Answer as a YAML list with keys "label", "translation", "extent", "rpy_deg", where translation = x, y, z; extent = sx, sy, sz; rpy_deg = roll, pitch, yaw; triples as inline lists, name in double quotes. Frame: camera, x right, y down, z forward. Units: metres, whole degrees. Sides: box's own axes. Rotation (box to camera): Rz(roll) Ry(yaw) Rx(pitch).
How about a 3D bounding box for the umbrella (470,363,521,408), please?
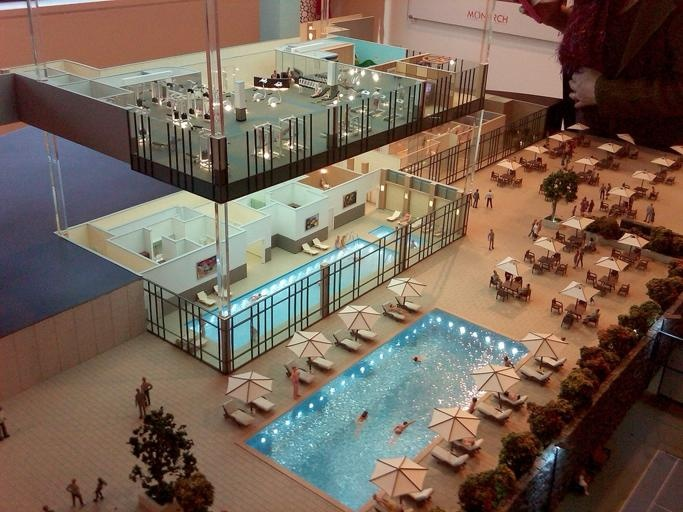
- label: "umbrella"
  translation: [6.623, 5.459, 25.389]
  extent: [1.503, 1.030, 1.498]
  rpy_deg: [-32, 47, -29]

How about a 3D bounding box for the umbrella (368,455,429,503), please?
- label: "umbrella"
  translation: [1.958, 7.880, 20.973]
  extent: [1.684, 0.694, 1.583]
  rpy_deg: [11, 44, 18]

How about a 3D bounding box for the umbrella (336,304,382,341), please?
- label: "umbrella"
  translation: [0.897, 2.795, 28.516]
  extent: [1.773, 1.492, 1.645]
  rpy_deg: [33, 61, 15]

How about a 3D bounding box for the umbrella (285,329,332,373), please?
- label: "umbrella"
  translation: [-1.441, 4.247, 27.055]
  extent: [1.703, 1.428, 1.626]
  rpy_deg: [34, 57, 19]

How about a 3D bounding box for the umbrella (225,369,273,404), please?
- label: "umbrella"
  translation: [-3.687, 5.252, 24.134]
  extent: [1.399, 0.625, 1.511]
  rpy_deg: [-23, 46, -30]

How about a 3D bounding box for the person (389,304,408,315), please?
- label: "person"
  translation: [2.955, 2.753, 30.962]
  extent: [0.906, 0.220, 0.588]
  rpy_deg: [19, 31, 32]

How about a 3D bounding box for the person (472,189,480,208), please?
- label: "person"
  translation: [9.177, -4.033, 40.570]
  extent: [0.488, 1.166, 1.251]
  rpy_deg: [8, 28, 11]

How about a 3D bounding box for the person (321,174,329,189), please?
- label: "person"
  translation: [-1.108, -5.213, 41.456]
  extent: [0.570, 0.807, 0.682]
  rpy_deg: [-30, 56, -22]

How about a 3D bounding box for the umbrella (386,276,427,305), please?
- label: "umbrella"
  translation: [3.401, 1.948, 30.920]
  extent: [1.580, 1.016, 1.482]
  rpy_deg: [14, 46, 16]

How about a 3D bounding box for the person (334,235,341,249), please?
- label: "person"
  translation: [-0.148, -0.883, 37.442]
  extent: [0.467, 0.738, 0.732]
  rpy_deg: [4, 23, 6]

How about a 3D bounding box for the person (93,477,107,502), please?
- label: "person"
  translation: [-8.619, 8.130, 21.274]
  extent: [0.419, 0.979, 0.772]
  rpy_deg: [-5, 29, -14]

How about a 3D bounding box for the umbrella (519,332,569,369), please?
- label: "umbrella"
  translation: [9.173, 4.431, 27.247]
  extent: [2.000, 1.606, 1.290]
  rpy_deg: [9, 28, 13]

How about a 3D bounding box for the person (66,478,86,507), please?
- label: "person"
  translation: [-9.327, 8.173, 20.949]
  extent: [0.403, 1.202, 0.793]
  rpy_deg: [-13, 31, -25]

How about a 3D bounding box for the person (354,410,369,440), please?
- label: "person"
  translation: [0.829, 7.003, 24.657]
  extent: [0.366, 0.332, 1.131]
  rpy_deg: [11, 40, 14]

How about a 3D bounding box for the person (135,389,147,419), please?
- label: "person"
  translation: [-8.090, 5.997, 24.268]
  extent: [0.382, 1.136, 0.789]
  rpy_deg: [-10, 30, -20]

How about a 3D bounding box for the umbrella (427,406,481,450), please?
- label: "umbrella"
  translation: [4.287, 6.358, 22.714]
  extent: [1.616, 1.094, 1.567]
  rpy_deg: [20, 47, 24]
